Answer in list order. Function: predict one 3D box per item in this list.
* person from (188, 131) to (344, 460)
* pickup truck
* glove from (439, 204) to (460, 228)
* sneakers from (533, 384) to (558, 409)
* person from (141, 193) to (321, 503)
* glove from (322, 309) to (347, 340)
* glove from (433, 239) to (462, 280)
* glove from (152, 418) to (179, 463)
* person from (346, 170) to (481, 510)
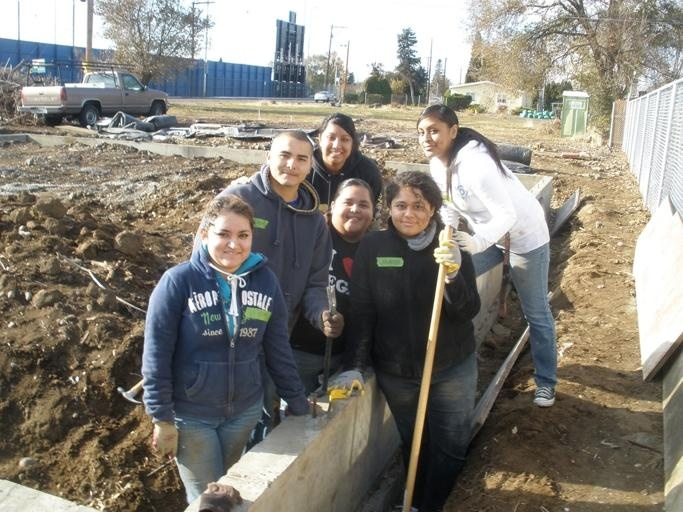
[{"bbox_3d":[-0.542,0.407,4.284,0.997,2.595,0.981,7,3,-13],"label":"person"},{"bbox_3d":[-7.979,-5.148,18.411,1.347,1.725,4.184,10,16,39],"label":"pickup truck"},{"bbox_3d":[0.935,-0.358,4.888,0.119,0.239,0.172,-17,25,19],"label":"glove"},{"bbox_3d":[1.712,1.175,4.698,0.110,0.160,0.351,-2,-12,20],"label":"sneakers"},{"bbox_3d":[-0.785,0.923,3.809,1.010,2.539,0.669,-3,20,-23],"label":"person"},{"bbox_3d":[-0.058,0.462,3.781,0.139,0.209,0.219,0,13,-3],"label":"glove"},{"bbox_3d":[0.728,0.011,3.870,0.079,0.270,0.194,-11,-36,22],"label":"glove"},{"bbox_3d":[-1.092,1.131,3.486,0.148,0.305,0.176,-4,13,-20],"label":"glove"},{"bbox_3d":[0.533,0.759,4.227,0.963,2.743,0.573,3,12,13],"label":"person"}]
